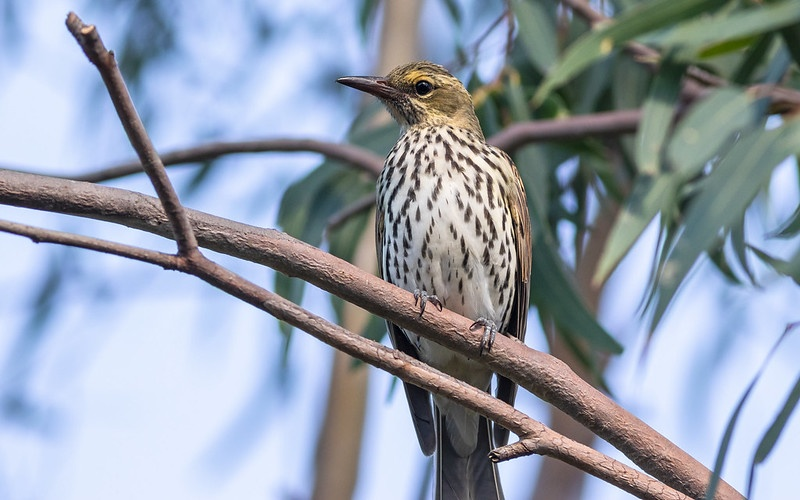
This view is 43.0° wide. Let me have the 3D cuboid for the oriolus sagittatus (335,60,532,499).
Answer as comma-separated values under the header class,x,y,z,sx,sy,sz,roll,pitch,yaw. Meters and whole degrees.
class,x,y,z,sx,sy,sz,roll,pitch,yaw
oriolus sagittatus,0.321,0.014,6.267,0.865,1.327,3.146,-4,-85,-1
